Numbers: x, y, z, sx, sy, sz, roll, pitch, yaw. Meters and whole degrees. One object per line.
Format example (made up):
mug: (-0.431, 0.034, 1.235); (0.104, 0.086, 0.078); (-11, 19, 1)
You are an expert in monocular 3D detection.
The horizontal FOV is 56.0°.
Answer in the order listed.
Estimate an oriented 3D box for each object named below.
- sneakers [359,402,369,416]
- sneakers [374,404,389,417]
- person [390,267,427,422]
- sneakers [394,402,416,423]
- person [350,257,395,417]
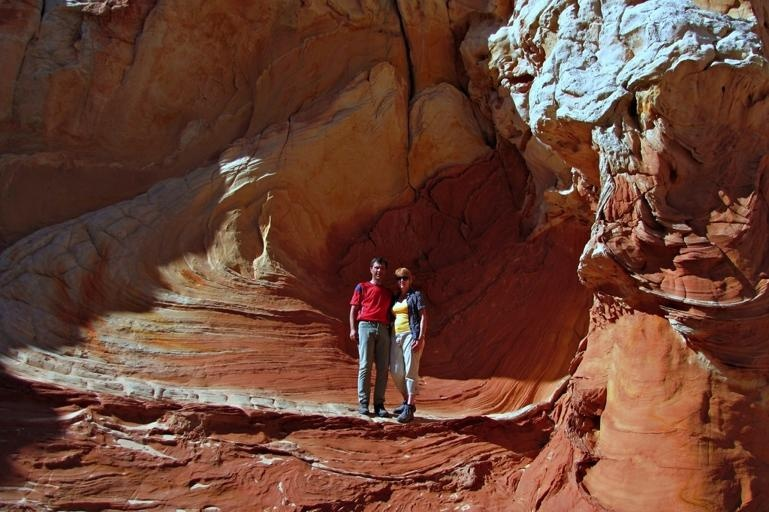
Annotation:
sneakers: (-0.205, 1.501, 6.995); (0.106, 0.161, 0.106); (1, 3, 8)
sneakers: (-0.024, 1.517, 7.023); (0.143, 0.092, 0.090); (1, 0, -11)
person: (0.220, 0.872, 7.051); (0.316, 1.223, 0.361); (1, 0, 1)
sneakers: (0.189, 1.515, 7.009); (0.193, 0.151, 0.220); (1, 0, 0)
person: (-0.134, 0.799, 7.145); (0.411, 1.236, 0.423); (1, 0, 2)
